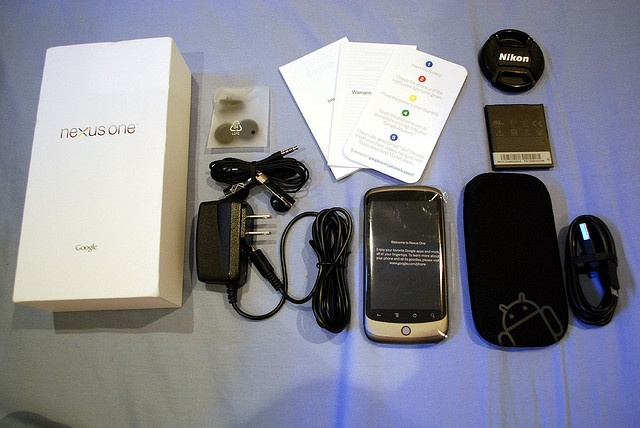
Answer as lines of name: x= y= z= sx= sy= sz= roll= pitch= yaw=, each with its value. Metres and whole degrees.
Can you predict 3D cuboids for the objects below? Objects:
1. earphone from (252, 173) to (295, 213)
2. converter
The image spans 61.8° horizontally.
earphone: x=-0.142 y=-0.070 z=1.672 sx=0.141 sy=0.079 sz=0.037 roll=41 pitch=15 yaw=11
converter: x=-0.284 y=0.072 z=1.675 sx=0.198 sy=0.258 sz=0.056 roll=4 pitch=-10 yaw=4
